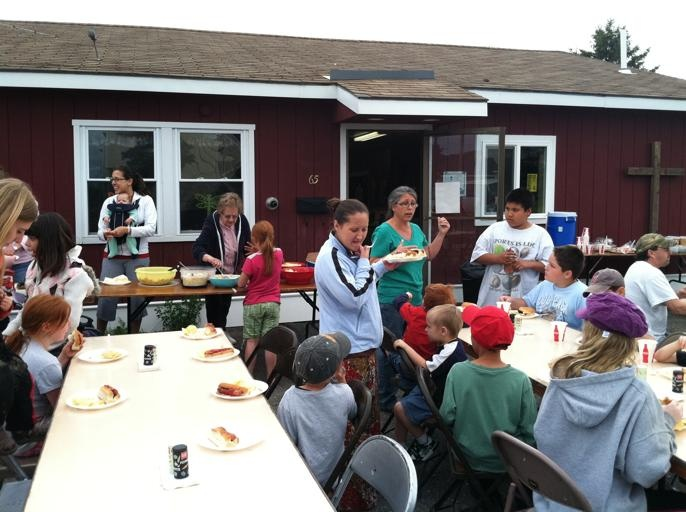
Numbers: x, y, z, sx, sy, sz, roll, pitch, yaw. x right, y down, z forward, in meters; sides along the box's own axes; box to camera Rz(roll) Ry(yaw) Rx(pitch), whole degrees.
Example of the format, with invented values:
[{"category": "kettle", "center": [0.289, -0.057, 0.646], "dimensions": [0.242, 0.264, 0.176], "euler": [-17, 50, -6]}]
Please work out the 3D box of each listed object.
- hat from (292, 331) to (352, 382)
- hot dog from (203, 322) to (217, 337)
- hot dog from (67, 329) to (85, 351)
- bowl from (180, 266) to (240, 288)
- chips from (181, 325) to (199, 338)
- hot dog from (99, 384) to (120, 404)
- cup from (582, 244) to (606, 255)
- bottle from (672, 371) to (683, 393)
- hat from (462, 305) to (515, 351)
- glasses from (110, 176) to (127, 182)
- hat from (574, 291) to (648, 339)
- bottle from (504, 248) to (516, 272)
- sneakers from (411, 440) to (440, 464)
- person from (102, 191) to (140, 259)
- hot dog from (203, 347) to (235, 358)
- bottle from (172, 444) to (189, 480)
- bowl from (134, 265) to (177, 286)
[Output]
[{"category": "hat", "center": [-0.182, 0.603, 3.838], "dimensions": [0.401, 0.214, 0.286], "euler": [-15, -13, -3]}, {"category": "hot dog", "center": [-1.061, 0.588, 5.203], "dimensions": [0.040, 0.084, 0.096], "euler": [-26, 24, -24]}, {"category": "hot dog", "center": [-1.905, 0.591, 4.647], "dimensions": [0.103, 0.155, 0.052], "euler": [-19, -12, 33]}, {"category": "bowl", "center": [-1.335, 0.217, 6.525], "dimensions": [0.612, 0.180, 0.529], "euler": [-1, 6, -4]}, {"category": "chips", "center": [-1.217, 0.602, 5.177], "dimensions": [0.095, 0.036, 0.089], "euler": [0, 37, -11]}, {"category": "hot dog", "center": [-1.389, 0.817, 3.859], "dimensions": [0.092, 0.045, 0.093], "euler": [6, 17, -39]}, {"category": "cup", "center": [3.515, -0.083, 9.135], "dimensions": [0.169, 0.102, 0.244], "euler": [0, 0, 9]}, {"category": "bottle", "center": [2.058, 0.768, 4.016], "dimensions": [0.058, 0.135, 0.109], "euler": [3, 7, 26]}, {"category": "hat", "center": [0.956, 0.419, 4.165], "dimensions": [0.254, 0.201, 0.394], "euler": [-2, 31, -7]}, {"category": "glasses", "center": [-2.434, -0.837, 7.082], "dimensions": [0.142, 0.047, 0.136], "euler": [1, 5, -45]}, {"category": "hat", "center": [1.499, 0.300, 3.663], "dimensions": [0.276, 0.195, 0.399], "euler": [-8, 19, -45]}, {"category": "bottle", "center": [1.545, 0.050, 6.064], "dimensions": [0.080, 0.190, 0.113], "euler": [8, -2, -2]}, {"category": "sneakers", "center": [0.580, 1.441, 4.810], "dimensions": [0.253, 0.136, 0.102], "euler": [-2, 5, -21]}, {"category": "person", "center": [-2.428, -0.346, 7.160], "dimensions": [0.361, 0.752, 0.261], "euler": [-2, -14, -12]}, {"category": "hot dog", "center": [-0.879, 0.680, 4.618], "dimensions": [0.154, 0.042, 0.079], "euler": [-4, 6, -23]}, {"category": "bottle", "center": [-0.801, 0.989, 3.206], "dimensions": [0.080, 0.177, 0.166], "euler": [-2, 6, -14]}, {"category": "bowl", "center": [-1.876, 0.208, 6.527], "dimensions": [0.370, 0.174, 0.333], "euler": [-3, 7, -25]}]
